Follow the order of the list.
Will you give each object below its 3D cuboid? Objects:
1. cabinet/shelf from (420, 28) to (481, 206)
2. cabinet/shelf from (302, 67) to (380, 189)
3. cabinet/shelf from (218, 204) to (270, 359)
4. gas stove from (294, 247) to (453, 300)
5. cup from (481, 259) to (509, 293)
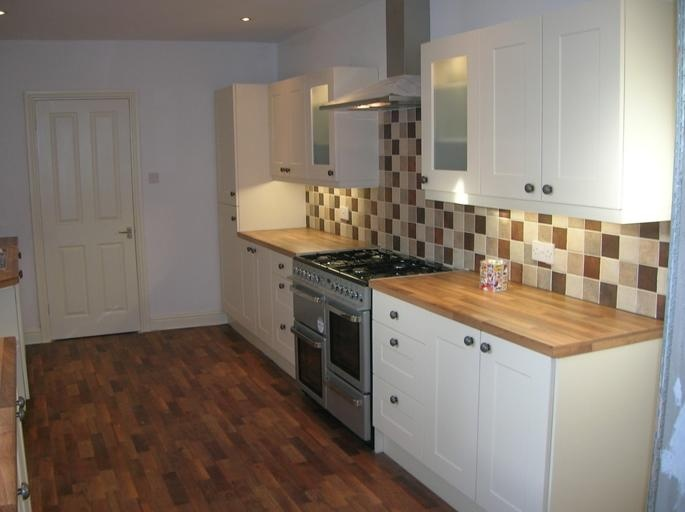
[{"bbox_3d":[0.575,-0.814,3.222,0.516,0.976,0.294,-12,13,-42],"label":"cabinet/shelf"},{"bbox_3d":[-0.226,-1.105,4.536,0.615,0.933,0.422,7,18,30],"label":"cabinet/shelf"},{"bbox_3d":[-0.993,0.246,5.297,0.463,1.186,1.265,-2,13,-27],"label":"cabinet/shelf"},{"bbox_3d":[0.159,0.175,3.939,0.851,0.326,1.281,-7,10,-27],"label":"gas stove"},{"bbox_3d":[0.890,0.118,3.042,0.126,0.169,0.131,-1,0,0],"label":"cup"}]
